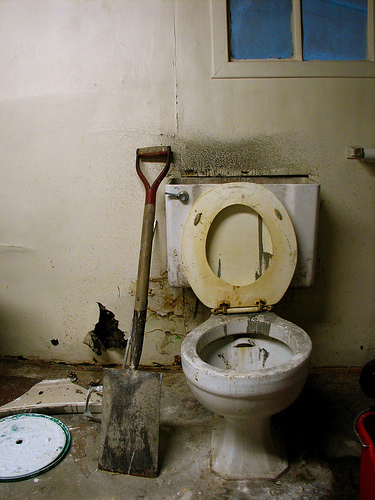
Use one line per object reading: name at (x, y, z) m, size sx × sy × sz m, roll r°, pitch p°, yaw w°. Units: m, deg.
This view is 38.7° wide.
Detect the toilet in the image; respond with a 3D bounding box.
toilet at (0.173, 0.220, 1.662) m, size 0.391 × 0.824 × 0.655 m, roll -2°, pitch 16°, yaw 4°
